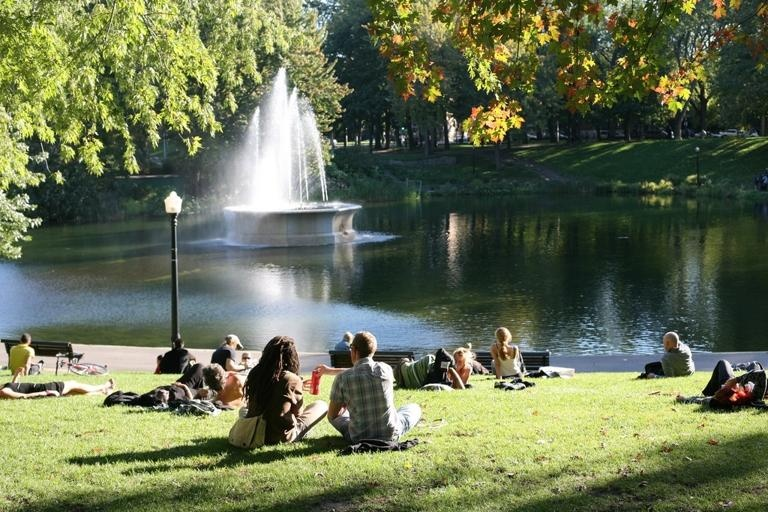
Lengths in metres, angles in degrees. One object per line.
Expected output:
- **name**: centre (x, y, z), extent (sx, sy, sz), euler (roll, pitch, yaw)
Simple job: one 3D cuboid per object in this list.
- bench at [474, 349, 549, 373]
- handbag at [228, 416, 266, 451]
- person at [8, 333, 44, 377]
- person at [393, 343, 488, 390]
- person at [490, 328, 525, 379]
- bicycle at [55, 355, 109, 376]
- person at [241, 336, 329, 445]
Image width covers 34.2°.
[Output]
- **bench**: centre (3.578, 2.661, 31.469), extent (1.798, 0.499, 0.618), euler (-4, -14, 6)
- **handbag**: centre (-2.856, 3.669, 26.197), extent (0.461, 0.868, 0.949), euler (11, -10, -33)
- **person**: centre (-9.020, 2.577, 31.338), extent (0.771, 1.063, 1.098), euler (8, 10, 4)
- **person**: centre (1.201, 2.709, 29.635), extent (1.663, 0.695, 0.924), euler (-1, -11, 13)
- **person**: centre (3.029, 2.387, 30.446), extent (0.803, 1.225, 0.967), euler (-1, -4, 4)
- **bicycle**: centre (-7.829, 2.877, 32.093), extent (1.314, 0.559, 0.765), euler (10, 8, 42)
- **person**: centre (-2.124, 2.822, 25.927), extent (1.504, 2.233, 0.855), euler (0, -4, -15)
